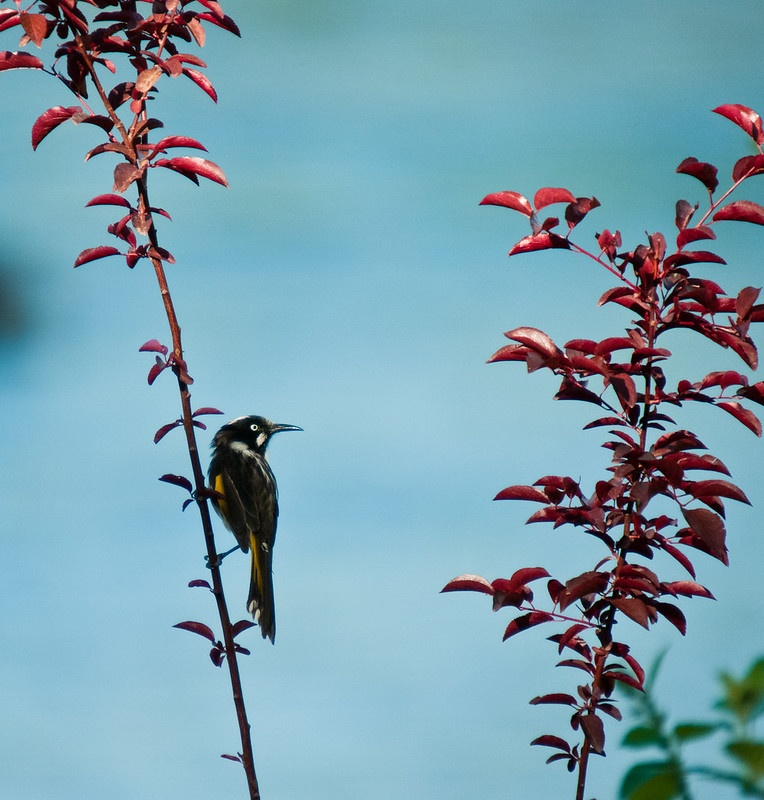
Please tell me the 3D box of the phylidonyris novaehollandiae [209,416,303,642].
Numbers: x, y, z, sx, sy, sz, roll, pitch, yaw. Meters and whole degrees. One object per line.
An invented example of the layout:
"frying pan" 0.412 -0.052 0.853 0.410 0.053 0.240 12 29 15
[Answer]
"phylidonyris novaehollandiae" -0.441 0.388 6.384 0.222 0.857 0.379 5 -55 -11
